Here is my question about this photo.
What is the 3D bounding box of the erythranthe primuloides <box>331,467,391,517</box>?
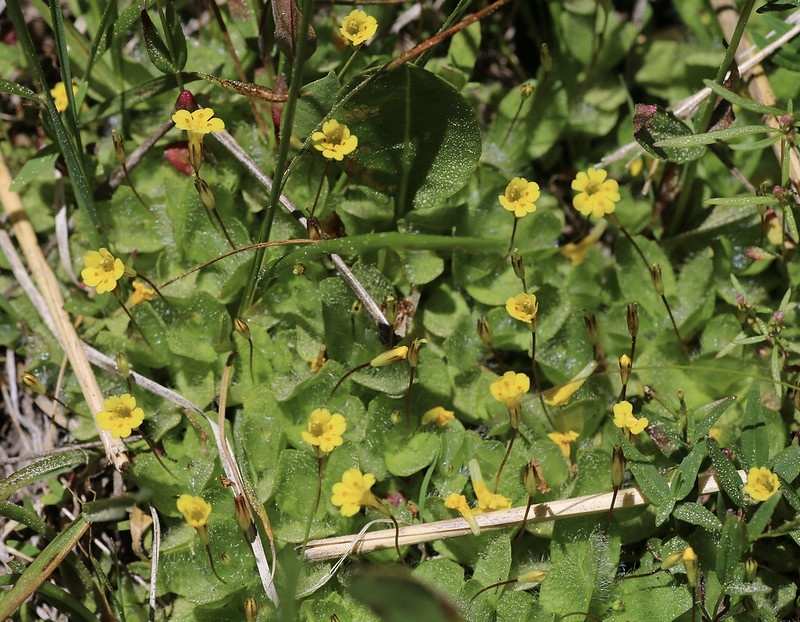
[{"bbox_3d":[-0.078,0.373,1.607,0.118,0.077,0.091,1,75,-2],"label":"erythranthe primuloides"}]

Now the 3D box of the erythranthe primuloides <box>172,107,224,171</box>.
[{"bbox_3d":[-0.442,-0.345,1.696,0.112,0.133,0.137,-6,58,-10],"label":"erythranthe primuloides"}]

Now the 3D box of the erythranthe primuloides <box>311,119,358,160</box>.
[{"bbox_3d":[-0.139,-0.399,1.745,0.100,0.049,0.113,18,47,26],"label":"erythranthe primuloides"}]

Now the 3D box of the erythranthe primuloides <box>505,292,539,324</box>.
[{"bbox_3d":[0.260,-0.007,1.688,0.061,0.065,0.070,-10,76,-5],"label":"erythranthe primuloides"}]

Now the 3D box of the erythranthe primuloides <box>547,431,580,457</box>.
[{"bbox_3d":[0.388,0.308,1.867,0.063,0.058,0.061,46,41,-21],"label":"erythranthe primuloides"}]

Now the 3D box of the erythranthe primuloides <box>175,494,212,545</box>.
[{"bbox_3d":[-0.401,0.429,1.563,0.053,0.117,0.058,-8,26,4],"label":"erythranthe primuloides"}]

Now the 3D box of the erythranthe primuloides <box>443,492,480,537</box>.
[{"bbox_3d":[0.129,0.416,1.638,0.046,0.032,0.116,-32,99,-22],"label":"erythranthe primuloides"}]

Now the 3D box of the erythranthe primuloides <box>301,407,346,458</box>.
[{"bbox_3d":[-0.153,0.258,1.624,0.084,0.076,0.092,26,54,-30],"label":"erythranthe primuloides"}]

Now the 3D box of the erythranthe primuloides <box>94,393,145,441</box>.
[{"bbox_3d":[-0.579,0.216,1.663,0.057,0.070,0.035,11,51,-9],"label":"erythranthe primuloides"}]
